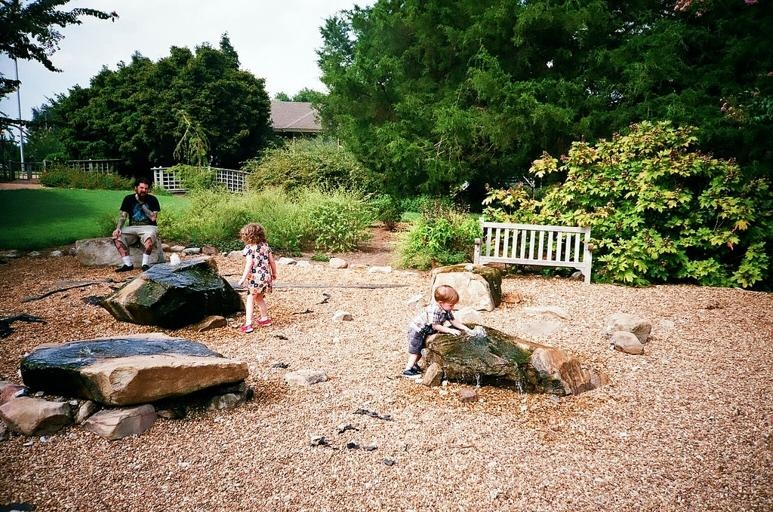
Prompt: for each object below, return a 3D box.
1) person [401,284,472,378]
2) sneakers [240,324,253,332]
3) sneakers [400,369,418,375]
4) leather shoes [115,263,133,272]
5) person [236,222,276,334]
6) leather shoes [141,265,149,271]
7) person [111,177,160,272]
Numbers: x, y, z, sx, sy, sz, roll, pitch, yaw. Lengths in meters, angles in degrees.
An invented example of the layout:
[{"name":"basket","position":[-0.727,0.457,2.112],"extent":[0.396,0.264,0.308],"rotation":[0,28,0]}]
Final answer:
[{"name":"person","position":[0.651,0.982,7.781],"extent":[0.831,1.228,0.422],"rotation":[2,7,1]},{"name":"sneakers","position":[-2.077,1.099,8.791],"extent":[0.189,0.115,0.170],"rotation":[0,8,-17]},{"name":"sneakers","position":[0.318,1.545,7.733],"extent":[0.185,0.081,0.075],"rotation":[-1,-1,6]},{"name":"leather shoes","position":[-4.978,0.227,11.208],"extent":[0.351,0.143,0.126],"rotation":[0,0,-6]},{"name":"person","position":[-2.005,0.284,9.175],"extent":[0.503,1.624,1.023],"rotation":[0,8,-13]},{"name":"leather shoes","position":[-4.423,0.222,10.781],"extent":[0.102,0.103,0.282],"rotation":[0,4,-14]},{"name":"person","position":[-4.844,-0.601,11.360],"extent":[0.841,1.764,1.045],"rotation":[-1,8,-23]}]
